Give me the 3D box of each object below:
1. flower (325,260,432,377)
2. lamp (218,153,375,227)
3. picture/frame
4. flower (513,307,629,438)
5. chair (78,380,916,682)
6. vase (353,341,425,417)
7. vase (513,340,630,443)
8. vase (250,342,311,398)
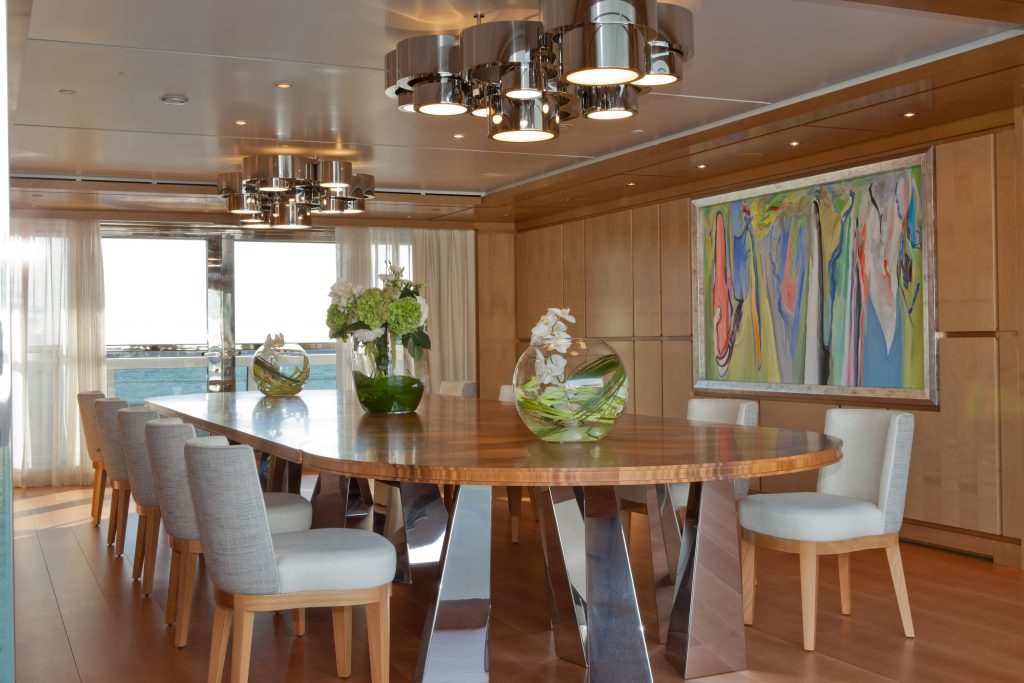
[{"bbox_3d":[-0.926,-0.144,5.149,0.629,0.670,0.697,-1,2,-32],"label":"flower"},{"bbox_3d":[-1.872,-1.298,7.237,0.930,0.332,0.840,-1,-3,7],"label":"lamp"},{"bbox_3d":[2.626,-0.557,6.929,0.089,1.614,2.373,0,0,-35],"label":"picture/frame"},{"bbox_3d":[0.229,0.164,3.981,0.600,0.664,0.613,1,-4,-26],"label":"flower"},{"bbox_3d":[-0.090,1.012,4.355,2.203,1.163,3.173,-4,4,-44],"label":"chair"},{"bbox_3d":[-0.725,0.247,5.158,0.475,0.429,0.435,-1,-7,2],"label":"vase"},{"bbox_3d":[0.241,0.214,3.762,0.514,0.386,0.492,-4,-6,41],"label":"vase"},{"bbox_3d":[-1.813,0.246,6.560,0.483,0.413,0.457,1,-1,1],"label":"vase"}]
